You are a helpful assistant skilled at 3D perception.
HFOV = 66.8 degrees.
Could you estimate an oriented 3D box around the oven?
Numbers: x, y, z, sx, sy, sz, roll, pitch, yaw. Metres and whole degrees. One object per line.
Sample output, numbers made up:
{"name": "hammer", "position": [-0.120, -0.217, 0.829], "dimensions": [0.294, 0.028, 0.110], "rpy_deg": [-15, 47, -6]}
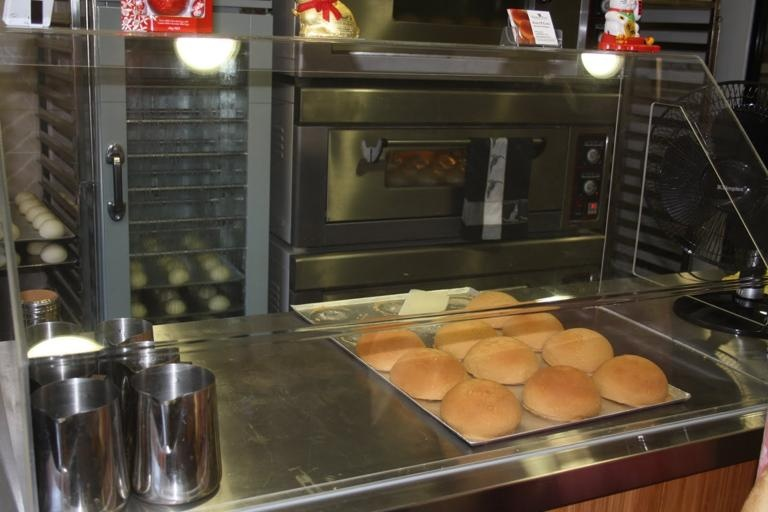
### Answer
{"name": "oven", "position": [0.122, -0.114, 1.137], "dimensions": [0.640, 0.578, 0.248], "rpy_deg": [-5, 22, -22]}
